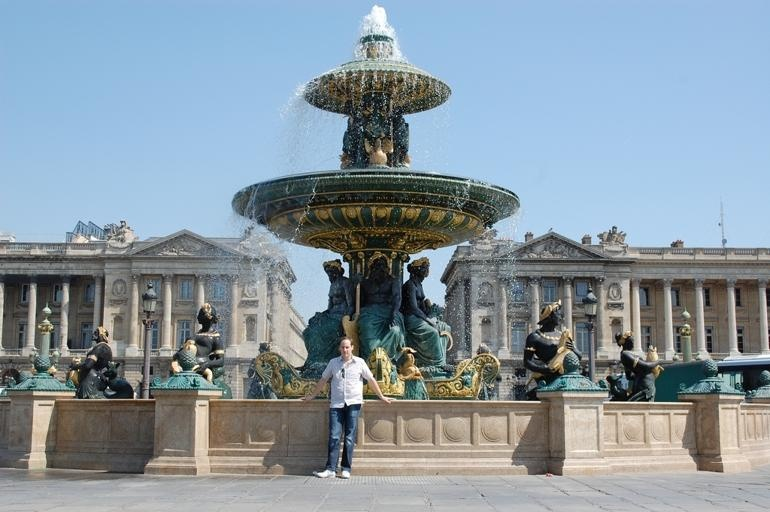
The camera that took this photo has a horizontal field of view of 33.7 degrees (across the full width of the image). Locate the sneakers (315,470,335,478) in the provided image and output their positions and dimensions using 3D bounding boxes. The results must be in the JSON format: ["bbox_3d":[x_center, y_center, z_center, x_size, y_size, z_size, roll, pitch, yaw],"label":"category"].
[{"bbox_3d":[-1.102,4.051,23.630,0.400,0.148,0.135,4,-12,1],"label":"sneakers"}]

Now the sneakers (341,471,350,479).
[{"bbox_3d":[-0.729,4.057,23.651,0.169,0.139,0.238,0,-7,-2],"label":"sneakers"}]
